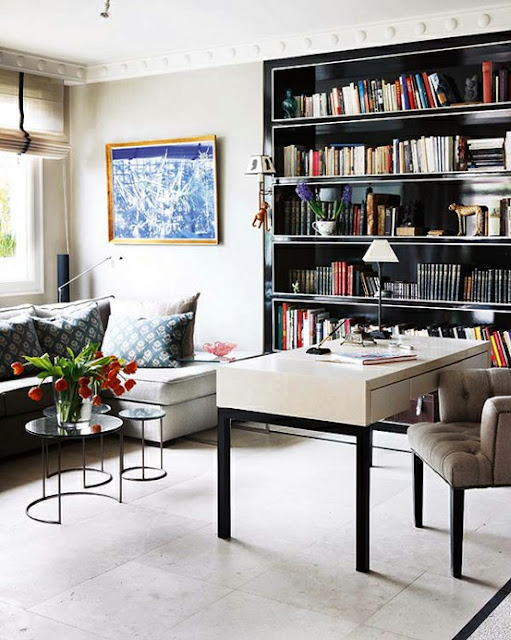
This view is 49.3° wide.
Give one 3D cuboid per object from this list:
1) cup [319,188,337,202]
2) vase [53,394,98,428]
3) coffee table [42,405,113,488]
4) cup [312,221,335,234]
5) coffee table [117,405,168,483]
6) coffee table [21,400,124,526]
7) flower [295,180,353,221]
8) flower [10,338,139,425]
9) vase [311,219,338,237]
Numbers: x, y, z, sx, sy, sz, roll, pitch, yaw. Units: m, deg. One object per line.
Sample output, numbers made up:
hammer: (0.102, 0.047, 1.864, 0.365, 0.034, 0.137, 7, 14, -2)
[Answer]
cup: (0.598, -1.020, 4.565, 0.166, 0.164, 0.085, 7, 12, 37)
vase: (-0.842, 0.425, 2.582, 0.147, 0.164, 0.165, 1, -1, -30)
coffee table: (-0.941, 0.658, 2.940, 0.350, 0.397, 0.362, -7, -3, -17)
cup: (0.526, -0.683, 4.233, 0.120, 0.086, 0.104, 0, 4, 11)
coffee table: (-0.659, 0.685, 3.206, 0.283, 0.396, 0.289, -1, -2, -2)
coffee table: (-0.897, 0.682, 2.778, 0.430, 0.393, 0.537, 2, 4, 3)
flower: (0.517, -0.895, 4.377, 0.324, 0.255, 0.357, -1, 8, 0)
flower: (-0.869, 0.312, 2.687, 0.512, 0.366, 0.540, 4, 4, 14)
vase: (0.532, -0.696, 4.269, 0.147, 0.105, 0.123, -1, 6, 6)
